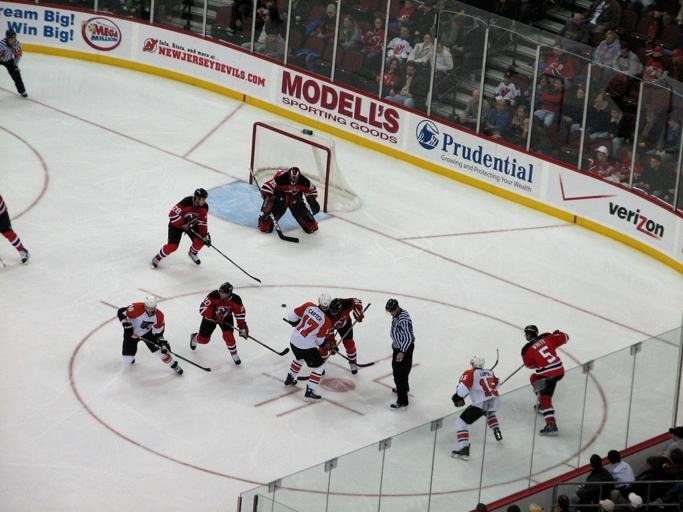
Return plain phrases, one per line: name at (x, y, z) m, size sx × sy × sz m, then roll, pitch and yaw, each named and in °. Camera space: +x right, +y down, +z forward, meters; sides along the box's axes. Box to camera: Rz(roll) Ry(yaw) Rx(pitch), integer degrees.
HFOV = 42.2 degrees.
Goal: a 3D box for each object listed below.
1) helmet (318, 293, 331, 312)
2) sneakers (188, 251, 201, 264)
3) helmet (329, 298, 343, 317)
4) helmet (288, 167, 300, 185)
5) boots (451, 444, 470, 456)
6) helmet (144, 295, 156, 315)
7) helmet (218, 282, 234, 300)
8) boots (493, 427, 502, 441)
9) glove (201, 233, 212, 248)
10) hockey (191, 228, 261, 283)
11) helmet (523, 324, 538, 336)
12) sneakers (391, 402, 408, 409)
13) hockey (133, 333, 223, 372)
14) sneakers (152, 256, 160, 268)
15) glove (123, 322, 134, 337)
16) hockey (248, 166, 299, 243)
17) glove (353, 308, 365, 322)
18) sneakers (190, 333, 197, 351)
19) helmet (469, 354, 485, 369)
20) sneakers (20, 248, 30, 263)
helmet at (-0.218, 0.621, 12.319) m, size 0.166 × 0.205 × 0.351 m, roll 8°, pitch 20°, yaw -2°
sneakers at (-2.487, 0.041, 15.180) m, size 0.274 × 0.110 × 0.110 m, roll 48°, pitch 55°, yaw -2°
helmet at (-0.088, 0.732, 12.342) m, size 0.250 × 0.249 × 0.133 m, roll 0°, pitch 25°, yaw -22°
helmet at (-0.845, -1.462, 16.256) m, size 0.221 × 0.314 × 0.143 m, roll 7°, pitch 23°, yaw -7°
boots at (1.285, 2.140, 9.684) m, size 0.226 × 0.124 × 0.097 m, roll 6°, pitch -10°, yaw 5°
helmet at (-2.620, 0.636, 12.096) m, size 0.196 × 0.213 × 0.228 m, roll 1°, pitch 39°, yaw -17°
helmet at (-1.579, 0.481, 12.388) m, size 0.197 × 0.200 × 0.216 m, roll 20°, pitch 29°, yaw -13°
boots at (1.755, 2.013, 9.960) m, size 0.102 × 0.144 × 0.052 m, roll -26°, pitch 5°, yaw -30°
glove at (-2.244, -0.268, 14.929) m, size 0.163 × 0.184 × 0.083 m, roll -14°, pitch -5°, yaw 17°
hockey at (-2.014, 0.036, 15.339) m, size 1.454 × 0.143 × 0.149 m, roll 37°, pitch -26°, yaw -10°
helmet at (2.555, 0.999, 11.944) m, size 0.160 × 0.165 × 0.144 m, roll 27°, pitch 10°, yaw 21°
sneakers at (0.792, 2.077, 12.272) m, size 0.254 × 0.082 × 0.084 m, roll 4°, pitch 9°, yaw -11°
hockey at (-2.361, 1.414, 12.705) m, size 0.975 × 0.109 × 0.158 m, roll 29°, pitch 3°, yaw -13°
sneakers at (-3.097, 0.088, 14.874) m, size 0.133 × 0.243 × 0.191 m, roll 4°, pitch 22°, yaw -14°
glove at (-2.927, 1.012, 12.249) m, size 0.151 × 0.181 × 0.075 m, roll 8°, pitch 29°, yaw 16°
hockey at (-1.235, -0.897, 16.578) m, size 0.316 × 0.233 × 2.071 m, roll -10°, pitch 49°, yaw -33°
glove at (0.257, 0.866, 12.935) m, size 0.252 × 0.213 × 0.085 m, roll 1°, pitch 36°, yaw 1°
sneakers at (-2.148, 1.259, 12.943) m, size 0.101 × 0.245 × 0.104 m, roll -2°, pitch 11°, yaw -19°
helmet at (1.727, 1.347, 11.198) m, size 0.163 × 0.144 × 0.185 m, roll 0°, pitch 7°, yaw -16°
sneakers at (-5.156, -0.004, 14.494) m, size 0.098 × 0.238 × 0.113 m, roll -5°, pitch 5°, yaw -13°
